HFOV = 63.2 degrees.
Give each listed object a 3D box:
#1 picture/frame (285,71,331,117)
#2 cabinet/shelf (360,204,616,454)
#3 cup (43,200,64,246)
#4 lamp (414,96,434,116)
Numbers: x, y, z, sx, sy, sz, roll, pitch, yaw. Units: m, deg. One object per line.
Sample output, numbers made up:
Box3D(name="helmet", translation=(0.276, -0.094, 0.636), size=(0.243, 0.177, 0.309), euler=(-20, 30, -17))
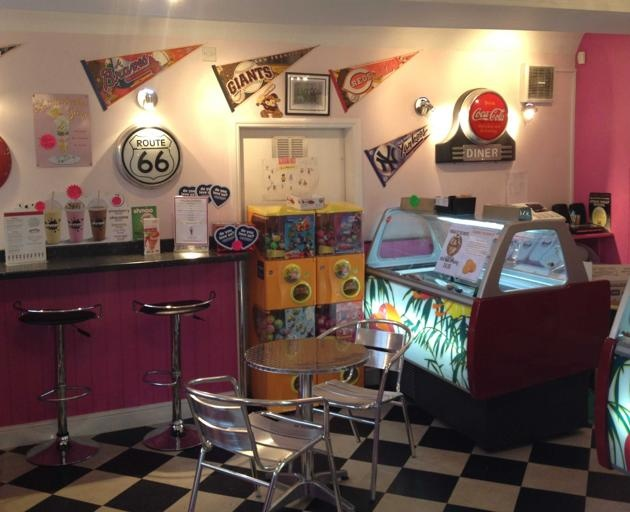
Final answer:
Box3D(name="picture/frame", translation=(-0.081, -1.454, 4.544), size=(0.409, 0.346, 0.031), euler=(-2, 7, -21))
Box3D(name="cabinet/shelf", translation=(1.303, 0.519, 4.522), size=(1.539, 2.016, 2.281), euler=(-4, 8, -28))
Box3D(name="cup", translation=(-2.019, -0.267, 3.968), size=(0.130, 0.362, 0.061), euler=(-7, 9, -28))
Box3D(name="lamp", translation=(1.063, -1.454, 4.962), size=(0.206, 0.197, 0.068), euler=(-7, 9, -28))
